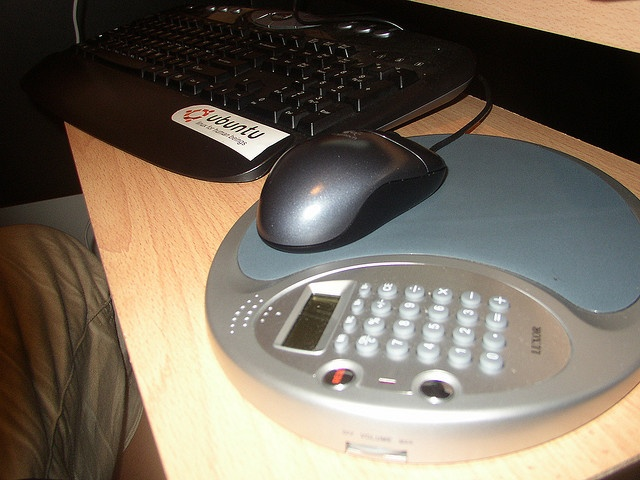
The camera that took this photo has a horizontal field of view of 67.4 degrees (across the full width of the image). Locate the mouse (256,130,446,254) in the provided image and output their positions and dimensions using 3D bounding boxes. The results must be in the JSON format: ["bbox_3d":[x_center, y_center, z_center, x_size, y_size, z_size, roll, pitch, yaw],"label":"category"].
[{"bbox_3d":[0.027,-0.058,0.400,0.103,0.056,0.177,30,49,33],"label":"mouse"}]
